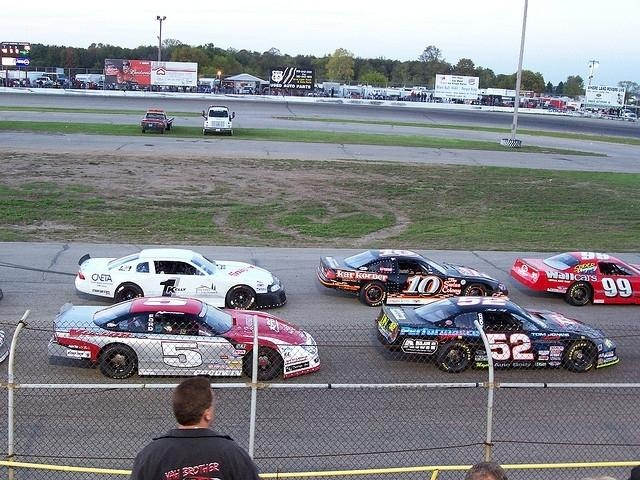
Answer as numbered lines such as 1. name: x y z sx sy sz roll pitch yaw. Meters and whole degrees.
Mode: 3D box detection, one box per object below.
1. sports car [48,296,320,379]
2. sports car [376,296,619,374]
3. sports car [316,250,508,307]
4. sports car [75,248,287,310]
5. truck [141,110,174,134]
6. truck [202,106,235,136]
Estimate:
1. sports car: -3.108 2.228 23.047 5.423 1.077 2.383 0 11 -5
2. sports car: 4.092 2.286 24.021 4.862 1.060 2.259 -1 8 -7
3. sports car: 2.463 1.087 27.417 4.539 1.034 1.950 -2 9 -8
4. sports car: -3.766 0.988 26.223 4.753 0.955 2.087 1 10 -5
5. truck: -9.481 -6.891 57.893 1.149 0.755 2.079 1 20 -5
6. truck: -6.055 -7.162 59.146 1.587 1.059 2.485 0 13 -6
